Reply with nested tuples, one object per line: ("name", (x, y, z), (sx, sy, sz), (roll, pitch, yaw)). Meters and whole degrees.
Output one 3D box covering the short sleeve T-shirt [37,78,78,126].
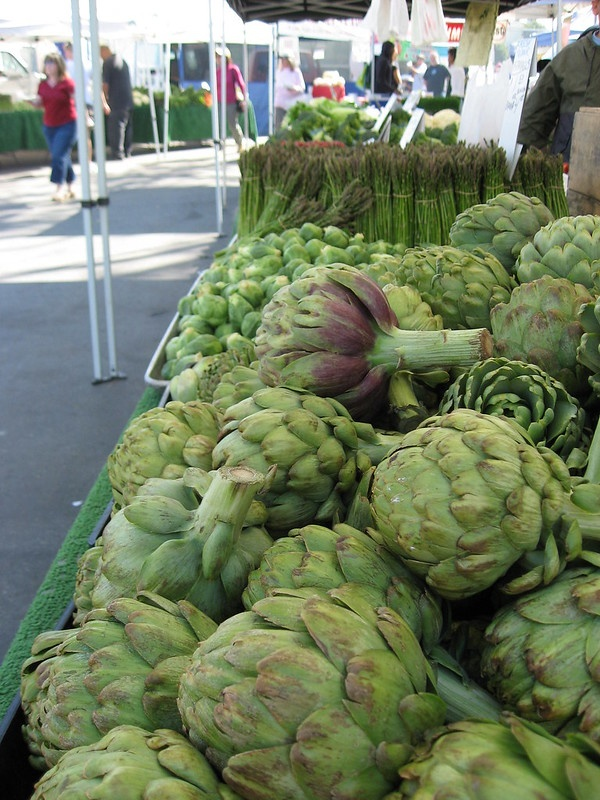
("short sleeve T-shirt", (-3.778, -4.654, 9.828), (0.547, 0.720, 0.554), (-4, 18, -10))
